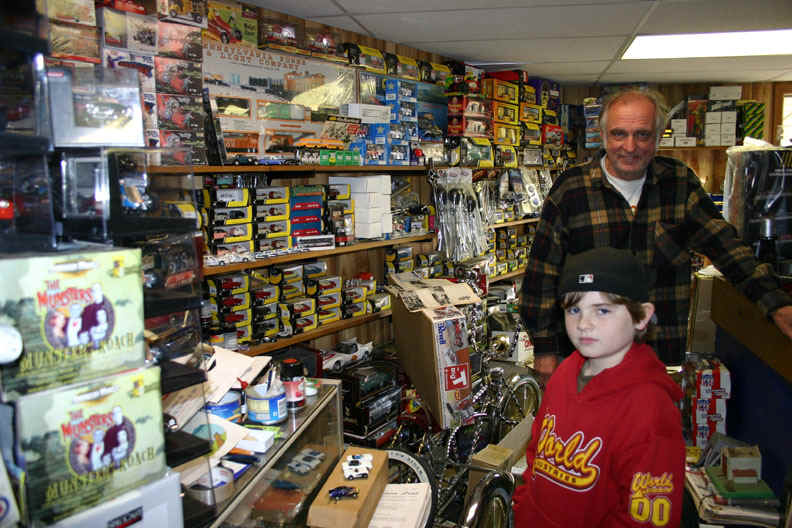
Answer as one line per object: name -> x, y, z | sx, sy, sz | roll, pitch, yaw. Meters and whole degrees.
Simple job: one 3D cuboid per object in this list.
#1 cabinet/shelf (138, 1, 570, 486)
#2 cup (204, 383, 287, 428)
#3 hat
cabinet/shelf -> -0.209, -0.157, 2.897 | 0.445, 0.987, 3.058 | 3, 7, 36
cup -> -0.483, 0.454, 1.776 | 0.217, 0.071, 0.115 | 1, 3, 4
hat -> 0.590, 0.008, 1.600 | 0.200, 0.110, 0.188 | 2, 3, -34
